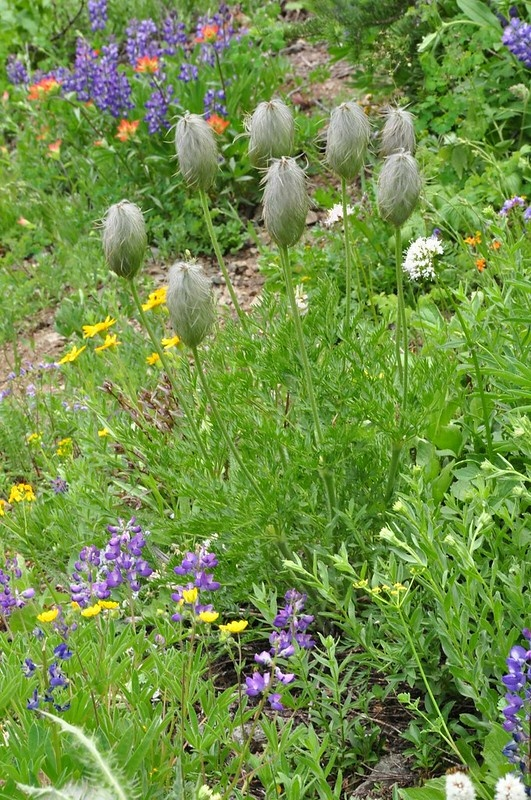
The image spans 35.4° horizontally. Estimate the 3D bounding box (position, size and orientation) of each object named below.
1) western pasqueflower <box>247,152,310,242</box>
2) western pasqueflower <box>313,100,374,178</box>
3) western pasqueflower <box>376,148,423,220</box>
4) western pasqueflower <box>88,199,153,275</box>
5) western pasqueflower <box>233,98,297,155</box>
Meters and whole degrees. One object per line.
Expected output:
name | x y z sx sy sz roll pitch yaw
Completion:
western pasqueflower | 0.042 -0.413 1.734 0.099 0.189 0.179 -9 30 4
western pasqueflower | 0.185 -0.585 1.892 0.096 0.167 0.097 17 39 29
western pasqueflower | 0.291 -0.462 1.821 0.097 0.161 0.157 -6 30 9
western pasqueflower | -0.325 -0.360 1.936 0.108 0.208 0.172 -16 30 -7
western pasqueflower | 0.012 -0.630 1.943 0.097 0.137 0.118 -22 32 -17
